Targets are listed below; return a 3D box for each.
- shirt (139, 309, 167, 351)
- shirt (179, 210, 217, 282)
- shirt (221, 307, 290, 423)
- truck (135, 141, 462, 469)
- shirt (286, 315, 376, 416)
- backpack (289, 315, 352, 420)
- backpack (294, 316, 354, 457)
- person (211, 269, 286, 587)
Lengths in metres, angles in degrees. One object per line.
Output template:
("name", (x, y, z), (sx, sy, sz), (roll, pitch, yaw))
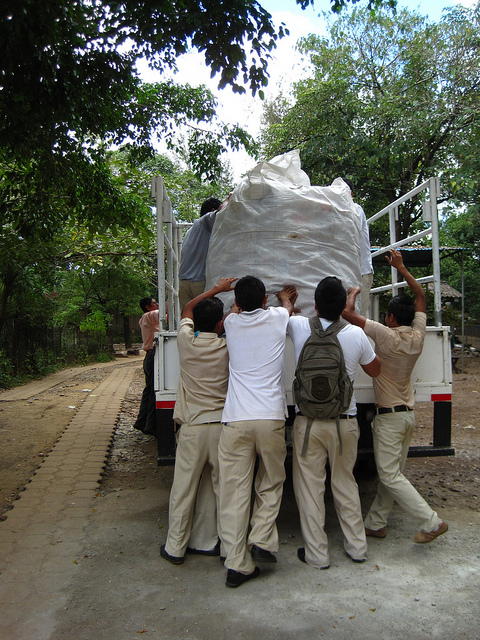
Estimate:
("shirt", (-1.162, 0.169, 6.225), (0.397, 0.548, 0.433), (-3, -12, -40))
("shirt", (-0.351, -0.647, 4.022), (0.261, 0.640, 0.484), (2, -5, -39))
("shirt", (0.089, 0.242, 2.587), (0.387, 0.636, 0.241), (-1, -4, 5))
("truck", (0.261, -0.317, 5.823), (3.008, 2.804, 4.558), (-10, 16, -3))
("shirt", (0.534, 0.268, 2.704), (0.440, 0.576, 0.579), (6, 8, 32))
("backpack", (0.444, 0.258, 2.521), (0.317, 0.573, 0.238), (-1, -4, 6))
("backpack", (0.470, 0.360, 2.536), (0.313, 0.751, 0.271), (3, 13, 24))
("person", (0.045, 0.515, 2.651), (0.445, 1.713, 0.654), (-1, -4, 1))
